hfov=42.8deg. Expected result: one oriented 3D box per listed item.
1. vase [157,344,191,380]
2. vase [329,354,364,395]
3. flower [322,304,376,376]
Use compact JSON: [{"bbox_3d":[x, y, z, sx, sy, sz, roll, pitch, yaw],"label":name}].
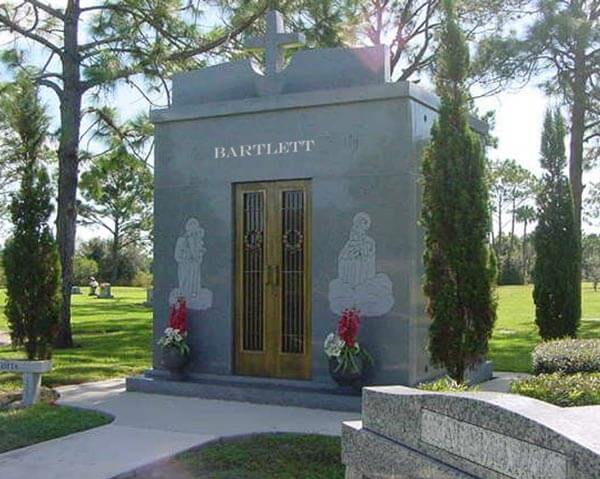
[{"bbox_3d":[-2.120,2.074,12.996,0.477,0.561,0.355,-1,-3,8],"label":"vase"},{"bbox_3d":[0.720,2.105,11.825,0.439,0.447,0.508,7,-9,-38],"label":"vase"},{"bbox_3d":[0.777,1.689,11.854,0.574,1.073,0.611,7,6,-33],"label":"flower"}]
